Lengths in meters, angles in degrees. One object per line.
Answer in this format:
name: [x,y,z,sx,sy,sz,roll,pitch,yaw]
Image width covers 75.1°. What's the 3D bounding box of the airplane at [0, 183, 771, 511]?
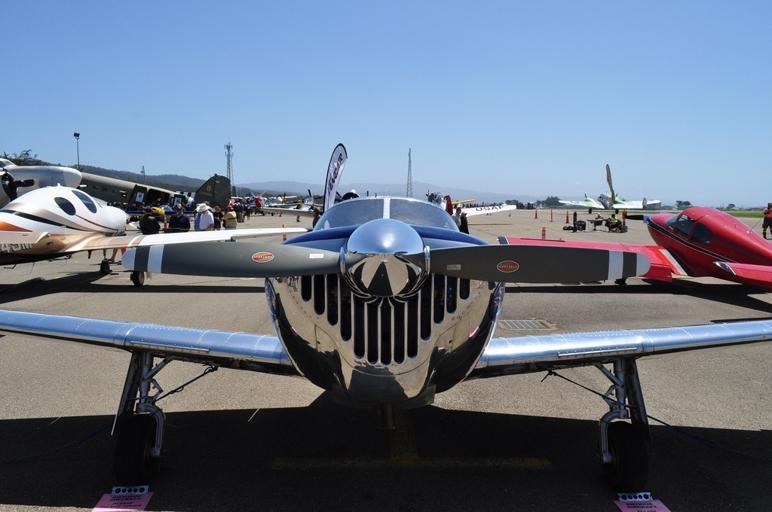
airplane: [-0.420,0.772,5.473,8.822,2.817,3.065,1,7,8]
